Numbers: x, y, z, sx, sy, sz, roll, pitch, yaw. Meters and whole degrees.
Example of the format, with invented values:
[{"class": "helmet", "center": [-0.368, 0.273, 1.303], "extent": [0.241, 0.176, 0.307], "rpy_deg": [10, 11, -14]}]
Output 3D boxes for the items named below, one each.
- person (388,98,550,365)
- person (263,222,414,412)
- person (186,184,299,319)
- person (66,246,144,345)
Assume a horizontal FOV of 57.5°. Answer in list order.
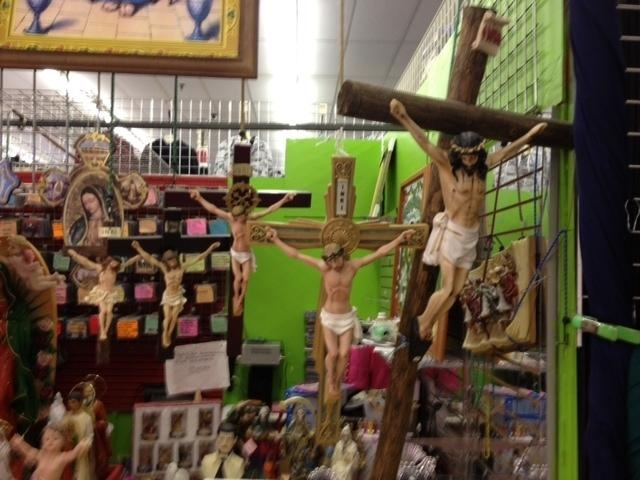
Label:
[{"class": "person", "center": [0.750, -0.034, 3.209], "extent": [0.729, 1.401, 0.494], "rpy_deg": [0, -7, 6]}, {"class": "person", "center": [0.146, 0.481, 3.556], "extent": [0.864, 1.082, 0.464], "rpy_deg": [-1, -7, 10]}, {"class": "person", "center": [-0.671, 0.085, 4.786], "extent": [1.151, 1.524, 0.292], "rpy_deg": [-1, 11, -10]}, {"class": "person", "center": [-1.805, 0.447, 4.947], "extent": [0.782, 1.101, 0.302], "rpy_deg": [1, -5, -36]}]
